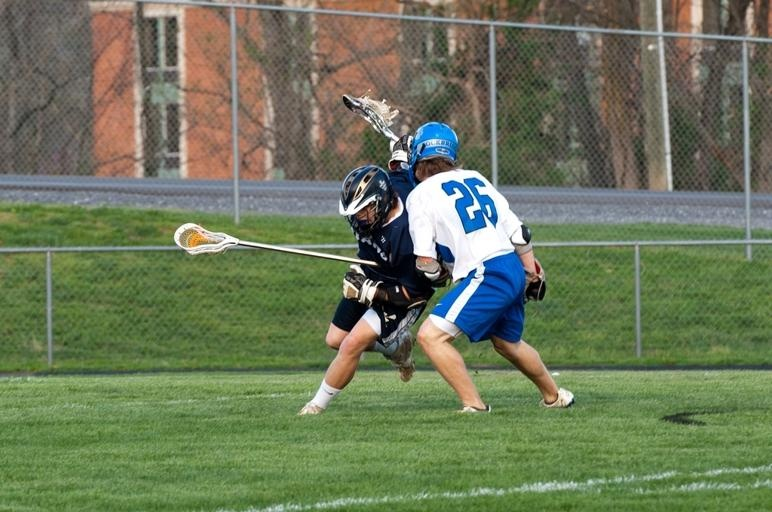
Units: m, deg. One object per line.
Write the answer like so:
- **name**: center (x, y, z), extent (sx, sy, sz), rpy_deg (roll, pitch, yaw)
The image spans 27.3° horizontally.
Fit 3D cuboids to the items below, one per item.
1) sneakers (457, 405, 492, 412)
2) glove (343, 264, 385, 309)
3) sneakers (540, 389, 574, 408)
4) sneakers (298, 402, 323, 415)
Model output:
- **sneakers**: center (0.982, 1.680, 17.330), extent (0.334, 0.075, 0.116), rpy_deg (4, -5, -4)
- **glove**: center (-0.294, 0.332, 17.248), extent (0.435, 0.216, 0.414), rpy_deg (-5, 45, -23)
- **sneakers**: center (1.929, 1.584, 17.734), extent (0.340, 0.167, 0.169), rpy_deg (-17, 28, -6)
- **sneakers**: center (-0.828, 1.686, 17.495), extent (0.202, 0.078, 0.154), rpy_deg (0, -2, -30)
